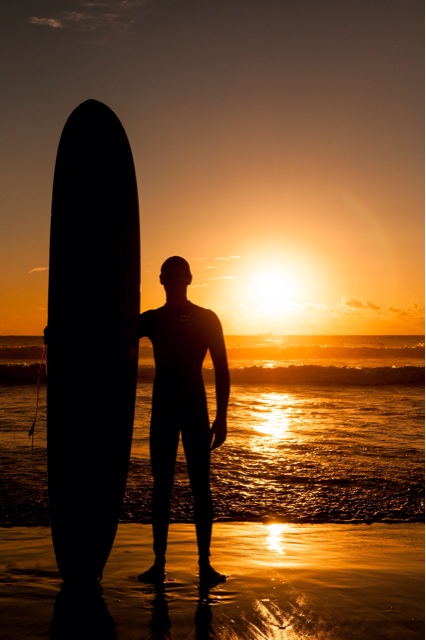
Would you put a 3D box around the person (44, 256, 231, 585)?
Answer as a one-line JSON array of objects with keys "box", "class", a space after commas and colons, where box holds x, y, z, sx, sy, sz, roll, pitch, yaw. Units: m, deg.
[{"box": [-0.141, 0.425, 3.728, 0.414, 1.436, 0.496, 0, -1, 0], "class": "person"}]
